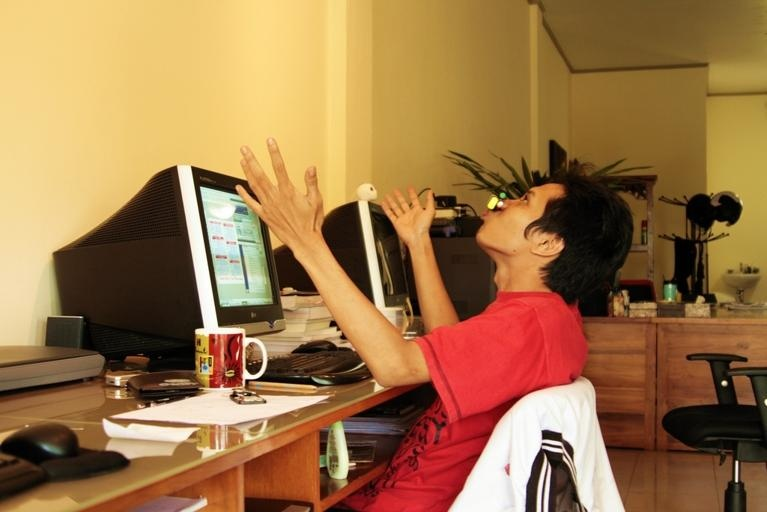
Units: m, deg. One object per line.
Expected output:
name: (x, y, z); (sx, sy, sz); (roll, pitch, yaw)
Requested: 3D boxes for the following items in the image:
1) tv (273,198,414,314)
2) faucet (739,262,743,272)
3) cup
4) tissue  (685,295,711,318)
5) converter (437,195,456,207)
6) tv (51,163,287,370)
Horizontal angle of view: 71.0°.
tv: (-0.103, 0.016, 2.316); (0.730, 0.382, 0.714); (-3, 0, -24)
faucet: (4.588, 0.141, 6.884); (0.036, 0.112, 0.063); (-3, 1, 31)
cup: (-0.370, 0.248, 1.289); (0.200, 0.127, 0.122); (5, -12, -31)
tissue : (2.173, 0.355, 3.737); (0.152, 0.140, 0.151); (-1, -1, 15)
converter: (0.321, -0.285, 2.820); (0.093, 0.057, 0.094); (1, 6, 12)
tv: (-0.614, 0.038, 1.595); (0.597, 0.453, 0.580); (-5, -2, 38)
